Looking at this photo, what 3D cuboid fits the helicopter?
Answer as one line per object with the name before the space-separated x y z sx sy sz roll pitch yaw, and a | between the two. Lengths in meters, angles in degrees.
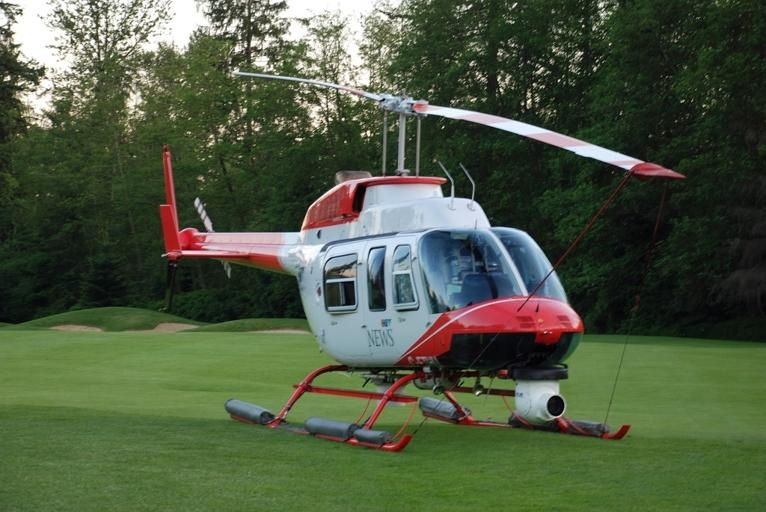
helicopter | 0.647 0.051 18.360 10.238 7.593 3.219 3 6 34
